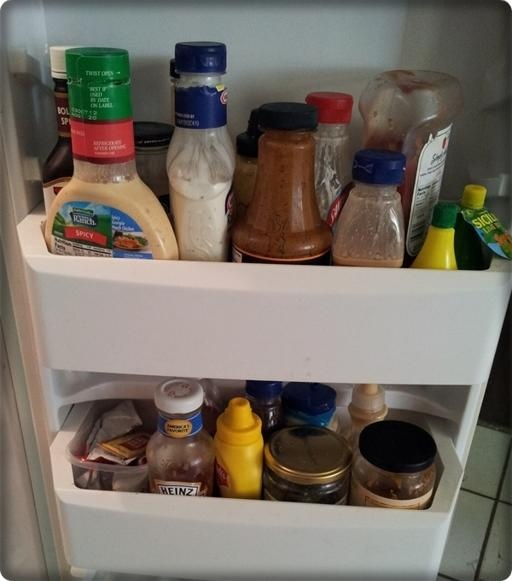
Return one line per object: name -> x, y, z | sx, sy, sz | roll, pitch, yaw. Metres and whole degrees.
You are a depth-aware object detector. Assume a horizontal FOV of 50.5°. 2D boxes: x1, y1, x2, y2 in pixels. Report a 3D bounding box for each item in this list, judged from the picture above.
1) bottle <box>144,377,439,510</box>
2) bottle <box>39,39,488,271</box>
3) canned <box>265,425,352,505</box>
bottle -> 0.037, 0.181, 0.585 | 0.268, 0.087, 0.155 | 6, 24, 3
bottle -> 0.027, -0.146, 0.576 | 0.441, 0.208, 0.201 | 1, 24, -3
canned -> 0.058, 0.208, 0.650 | 0.082, 0.089, 0.083 | 25, 37, 36
